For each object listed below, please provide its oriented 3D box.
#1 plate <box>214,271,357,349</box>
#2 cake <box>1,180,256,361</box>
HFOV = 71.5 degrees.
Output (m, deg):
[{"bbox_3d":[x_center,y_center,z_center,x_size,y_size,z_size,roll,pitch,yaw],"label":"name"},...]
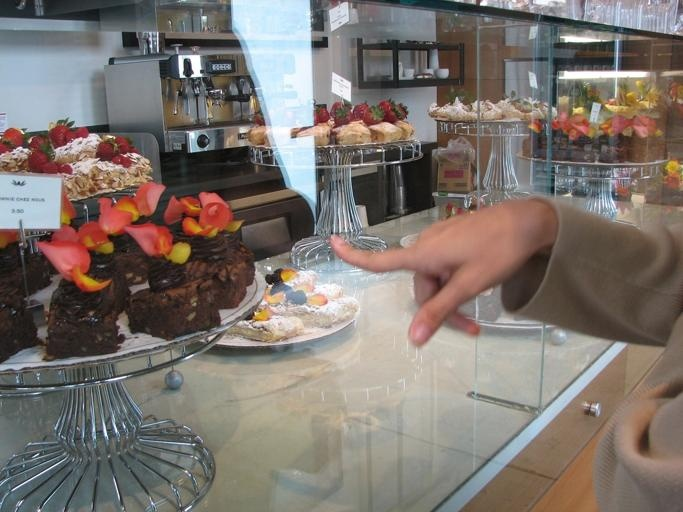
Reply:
[{"bbox_3d":[-0.063,0.075,0.610,0.180,0.055,0.185,-12,3,10],"label":"plate"},{"bbox_3d":[-0.251,0.030,0.584,0.235,0.081,0.235,4,20,6],"label":"cake"}]
